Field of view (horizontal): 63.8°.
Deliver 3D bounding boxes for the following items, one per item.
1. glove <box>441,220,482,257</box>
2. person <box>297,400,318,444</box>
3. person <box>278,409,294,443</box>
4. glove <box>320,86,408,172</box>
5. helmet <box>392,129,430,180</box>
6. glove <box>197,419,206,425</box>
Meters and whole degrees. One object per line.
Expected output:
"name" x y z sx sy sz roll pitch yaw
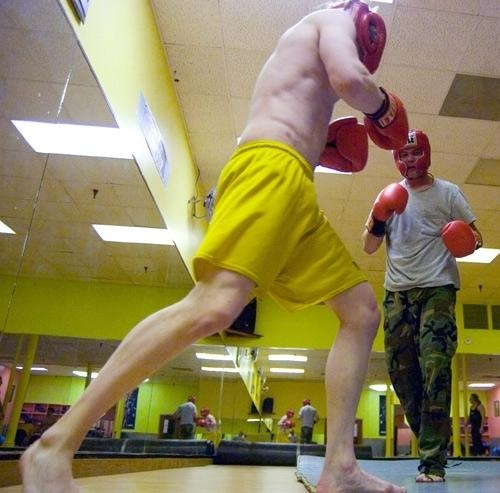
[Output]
"glove" 0.916 -0.037 1.762 0.123 0.170 0.066 -42 -17 7
"person" 1.180 3.590 8.194 0.324 0.967 0.259 5 3 4
"person" 0.839 4.435 9.541 0.337 0.990 0.400 7 -7 11
"glove" 0.321 -0.329 1.164 0.243 0.109 0.249 -29 -1 5
"helmet" 0.871 -0.486 2.073 0.198 0.192 0.150 16 -7 -36
"glove" -0.579 2.095 4.811 0.089 0.047 0.125 6 -16 4
